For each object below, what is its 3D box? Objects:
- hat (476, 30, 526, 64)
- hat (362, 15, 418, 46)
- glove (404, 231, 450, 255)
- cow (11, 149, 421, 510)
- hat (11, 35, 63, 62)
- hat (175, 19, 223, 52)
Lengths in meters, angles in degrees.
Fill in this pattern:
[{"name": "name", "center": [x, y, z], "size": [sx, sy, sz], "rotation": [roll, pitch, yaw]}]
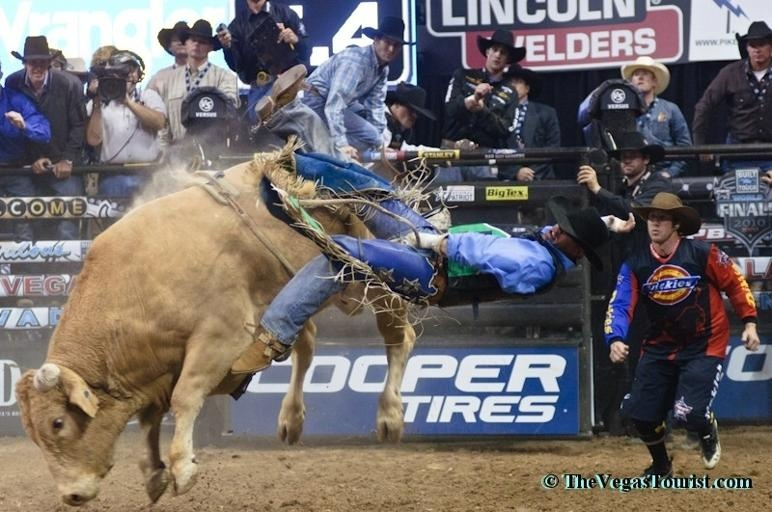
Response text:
[{"name": "hat", "center": [1.316, -2.384, 20.405], "size": [0.540, 0.385, 0.417], "rotation": [0, 6, 2]}, {"name": "hat", "center": [0.024, -2.499, 19.900], "size": [0.473, 0.153, 0.358], "rotation": [12, -9, -15]}, {"name": "glove", "center": [0.327, -0.129, 17.362], "size": [0.618, 0.171, 0.154], "rotation": [6, -13, 15]}, {"name": "cow", "center": [-1.773, 0.682, 17.201], "size": [3.378, 3.346, 0.783], "rotation": [-3, 7, -21]}, {"name": "hat", "center": [-3.967, -2.352, 20.344], "size": [0.466, 0.298, 0.465], "rotation": [-2, 6, -12]}, {"name": "hat", "center": [-2.113, -2.540, 20.573], "size": [0.396, 0.153, 0.387], "rotation": [9, -24, 2]}]
